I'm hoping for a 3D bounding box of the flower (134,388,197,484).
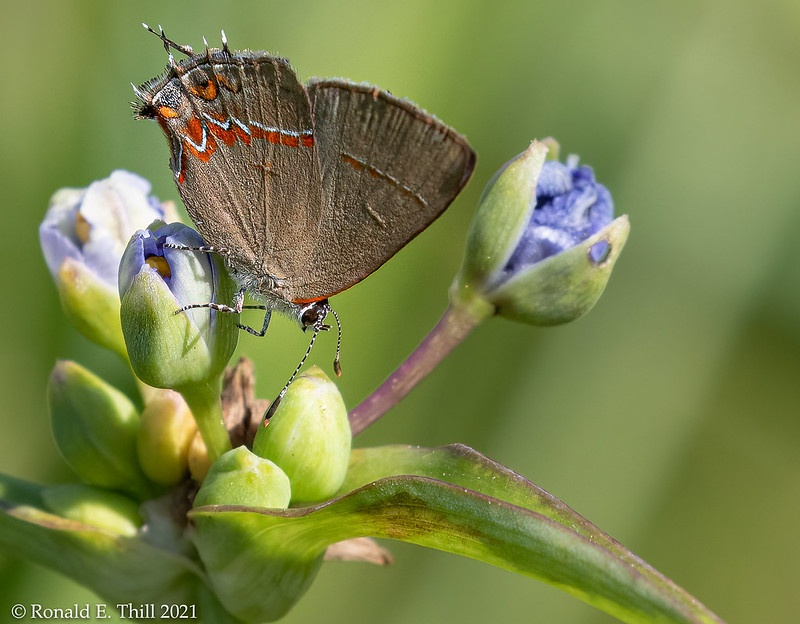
[{"bbox_3d":[-0.418,0.216,1.474,0.082,0.162,0.118,-1,-5,36],"label":"flower"}]

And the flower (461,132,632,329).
[{"bbox_3d":[0.252,-0.104,1.472,0.327,0.206,0.329,-16,25,15],"label":"flower"}]

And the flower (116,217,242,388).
[{"bbox_3d":[-0.335,-0.009,1.455,0.174,0.290,0.273,-4,1,-6],"label":"flower"}]
